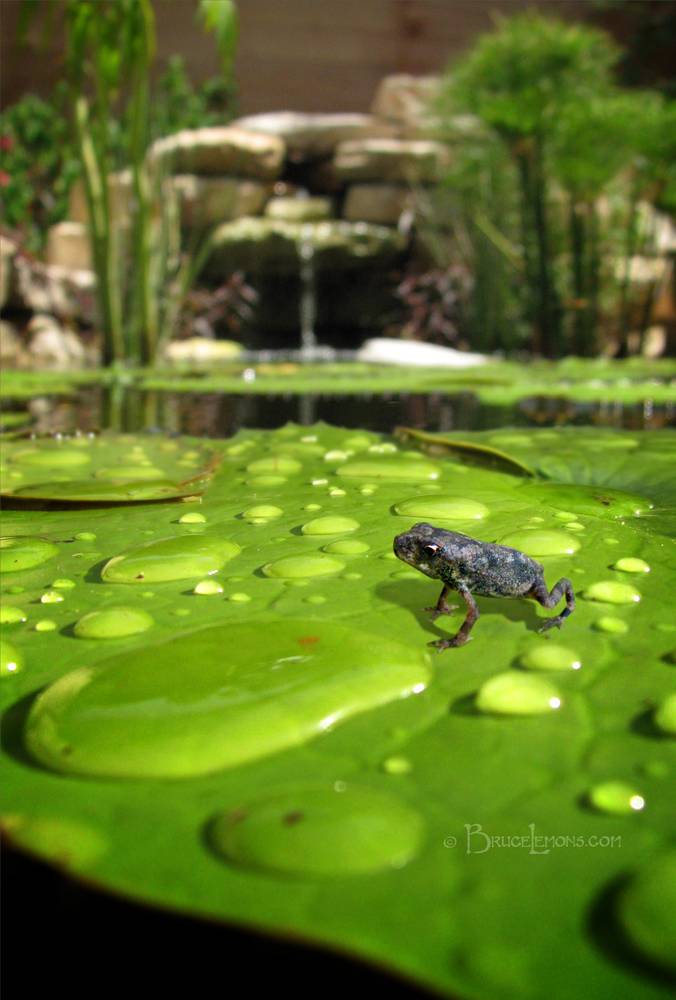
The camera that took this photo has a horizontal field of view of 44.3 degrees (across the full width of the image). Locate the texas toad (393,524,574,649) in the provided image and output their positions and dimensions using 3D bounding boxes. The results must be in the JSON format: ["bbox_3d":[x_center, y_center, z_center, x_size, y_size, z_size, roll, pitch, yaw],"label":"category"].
[{"bbox_3d":[0.136,0.077,0.816,0.168,0.084,0.109,-3,19,-2],"label":"texas toad"}]
